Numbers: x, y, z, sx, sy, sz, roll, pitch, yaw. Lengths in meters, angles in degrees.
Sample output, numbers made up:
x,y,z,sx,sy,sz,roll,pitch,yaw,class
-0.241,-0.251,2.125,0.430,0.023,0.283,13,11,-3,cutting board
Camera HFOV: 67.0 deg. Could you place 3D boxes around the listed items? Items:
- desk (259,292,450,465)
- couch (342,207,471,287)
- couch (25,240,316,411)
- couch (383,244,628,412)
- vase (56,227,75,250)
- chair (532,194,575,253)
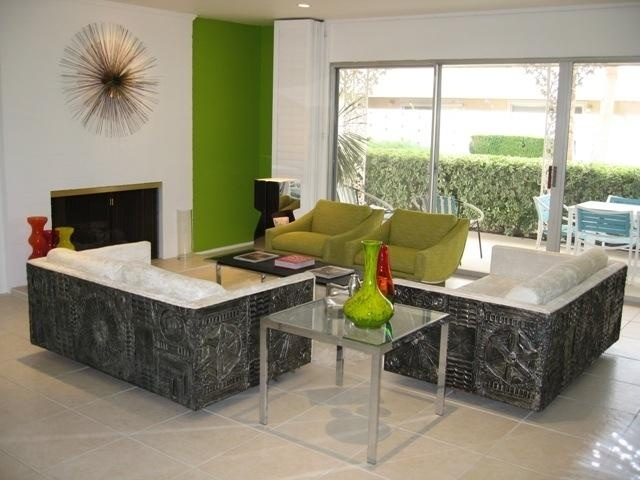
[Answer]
x,y,z,sx,sy,sz,roll,pitch,yaw,class
0.163,0.692,3.185,1.003,0.783,0.957,6,9,41,desk
1.041,0.065,5.802,1.259,0.830,1.329,6,10,24,couch
-1.292,0.591,3.704,1.929,0.835,0.741,7,13,23,couch
1.703,0.639,4.281,1.959,0.795,1.337,-10,13,-42,couch
-2.957,-0.020,5.605,0.203,0.307,0.201,-9,17,-43,vase
2.918,-0.293,6.141,0.514,0.770,0.479,4,10,39,chair
